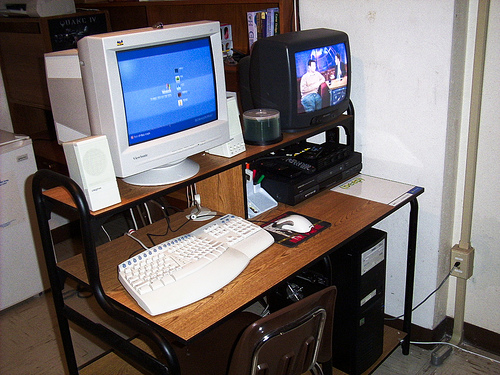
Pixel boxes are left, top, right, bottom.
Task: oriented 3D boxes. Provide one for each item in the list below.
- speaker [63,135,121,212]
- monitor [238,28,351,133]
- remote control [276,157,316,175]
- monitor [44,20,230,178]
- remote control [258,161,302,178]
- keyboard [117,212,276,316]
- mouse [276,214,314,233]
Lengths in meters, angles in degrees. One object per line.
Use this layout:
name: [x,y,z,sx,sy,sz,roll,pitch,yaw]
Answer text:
speaker: [-0.583,-0.057,1.479,0.163,0.258,0.126,-15,27,-20]
monitor: [0.214,-0.626,2.260,0.559,0.457,0.532,-24,36,-38]
remote control: [0.238,-0.127,2.129,0.078,0.039,0.248,-29,45,-35]
monitor: [-0.524,-0.373,1.942,0.728,0.634,0.741,15,37,44]
remote control: [0.160,-0.101,2.112,0.204,0.028,0.085,20,33,30]
keyboard: [-0.188,0.296,1.675,0.656,0.092,0.357,-24,31,-36]
mouse: [0.220,0.153,1.880,0.134,0.041,0.086,11,24,30]
